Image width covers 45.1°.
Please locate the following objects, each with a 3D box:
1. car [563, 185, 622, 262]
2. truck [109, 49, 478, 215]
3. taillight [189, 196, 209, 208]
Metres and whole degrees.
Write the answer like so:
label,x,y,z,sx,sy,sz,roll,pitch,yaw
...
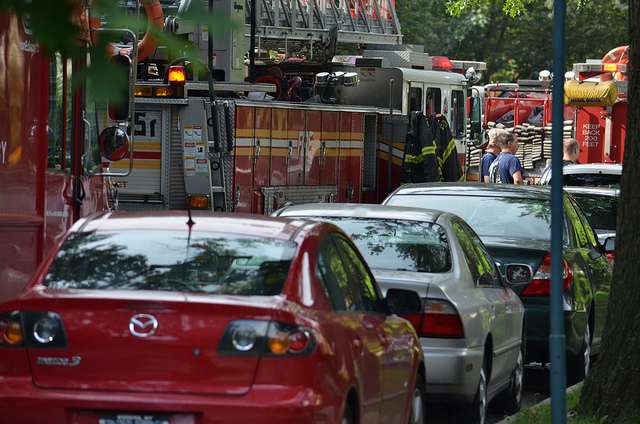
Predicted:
label,x,y,z,sx,sy,sz,roll,pitch,yaw
car,3.833,0.100,10.430,0.811,0.743,1.989,1,0,12
truck,-0.091,-1.361,13.550,2.489,3.372,6.912,3,7,34
taillight,-1.707,-0.141,10.898,0.278,0.162,0.093,0,6,-5
